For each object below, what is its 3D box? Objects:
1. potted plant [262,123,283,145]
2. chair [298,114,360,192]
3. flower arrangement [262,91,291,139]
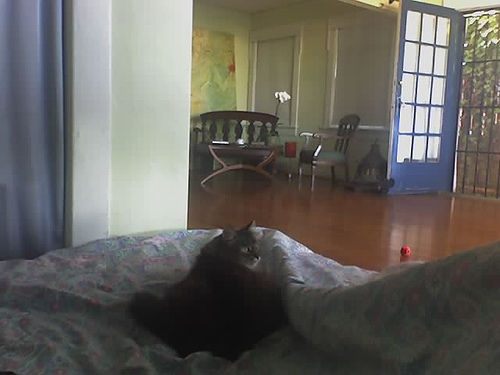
[{"bbox_3d":[0.384,-0.914,7.480,0.352,0.547,0.319,1,3,6],"label":"potted plant"},{"bbox_3d":[1.116,-0.534,6.298,0.741,1.124,0.772,3,6,-6],"label":"chair"},{"bbox_3d":[0.465,-1.243,7.470,0.404,0.836,0.596,5,7,15],"label":"flower arrangement"}]
